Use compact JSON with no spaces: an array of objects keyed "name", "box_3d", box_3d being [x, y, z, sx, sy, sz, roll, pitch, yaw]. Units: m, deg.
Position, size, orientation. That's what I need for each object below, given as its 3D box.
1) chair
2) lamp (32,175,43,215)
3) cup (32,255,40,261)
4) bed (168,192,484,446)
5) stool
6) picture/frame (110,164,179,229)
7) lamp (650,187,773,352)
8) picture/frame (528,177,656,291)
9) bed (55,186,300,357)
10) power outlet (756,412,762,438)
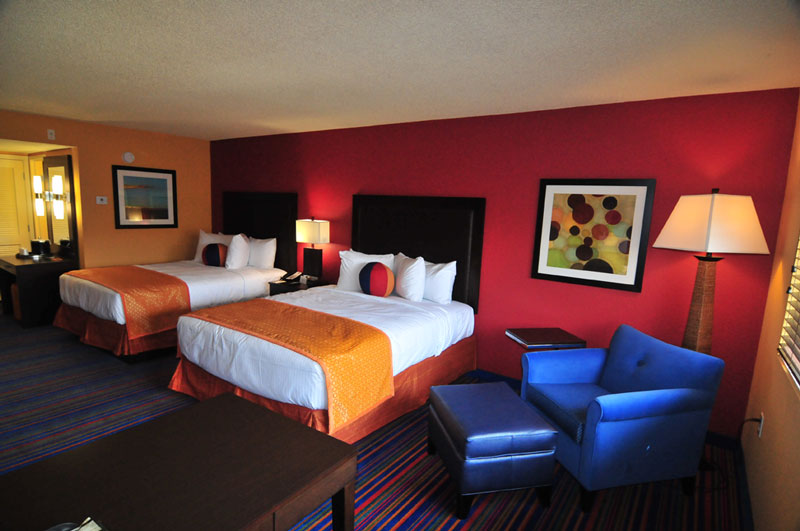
[{"name":"chair","box_3d":[1.764,1.108,4.299,1.213,1.065,0.830,0,9,-13]},{"name":"lamp","box_3d":[-5.118,-0.998,7.475,0.102,0.581,0.363,-6,12,-37]},{"name":"cup","box_3d":[-4.683,-0.101,6.787,0.069,0.064,0.041,8,15,23]},{"name":"bed","box_3d":[-0.722,0.275,5.404,2.228,2.087,3.045,6,7,37]},{"name":"stool","box_3d":[0.704,1.426,4.284,0.897,0.518,0.915,0,9,-25]},{"name":"picture/frame","box_3d":[-3.563,-0.974,7.286,0.054,0.986,1.021,9,5,37]},{"name":"lamp","box_3d":[2.513,0.044,4.304,0.733,1.335,0.372,1,10,-3]},{"name":"picture/frame","box_3d":[1.897,-0.310,5.050,1.057,1.031,0.082,8,12,34]},{"name":"bed","box_3d":[-2.800,-0.095,6.745,1.859,1.555,2.402,10,15,34]},{"name":"power outlet","box_3d":[2.816,1.242,4.110,0.024,0.179,0.147,8,11,31]}]
